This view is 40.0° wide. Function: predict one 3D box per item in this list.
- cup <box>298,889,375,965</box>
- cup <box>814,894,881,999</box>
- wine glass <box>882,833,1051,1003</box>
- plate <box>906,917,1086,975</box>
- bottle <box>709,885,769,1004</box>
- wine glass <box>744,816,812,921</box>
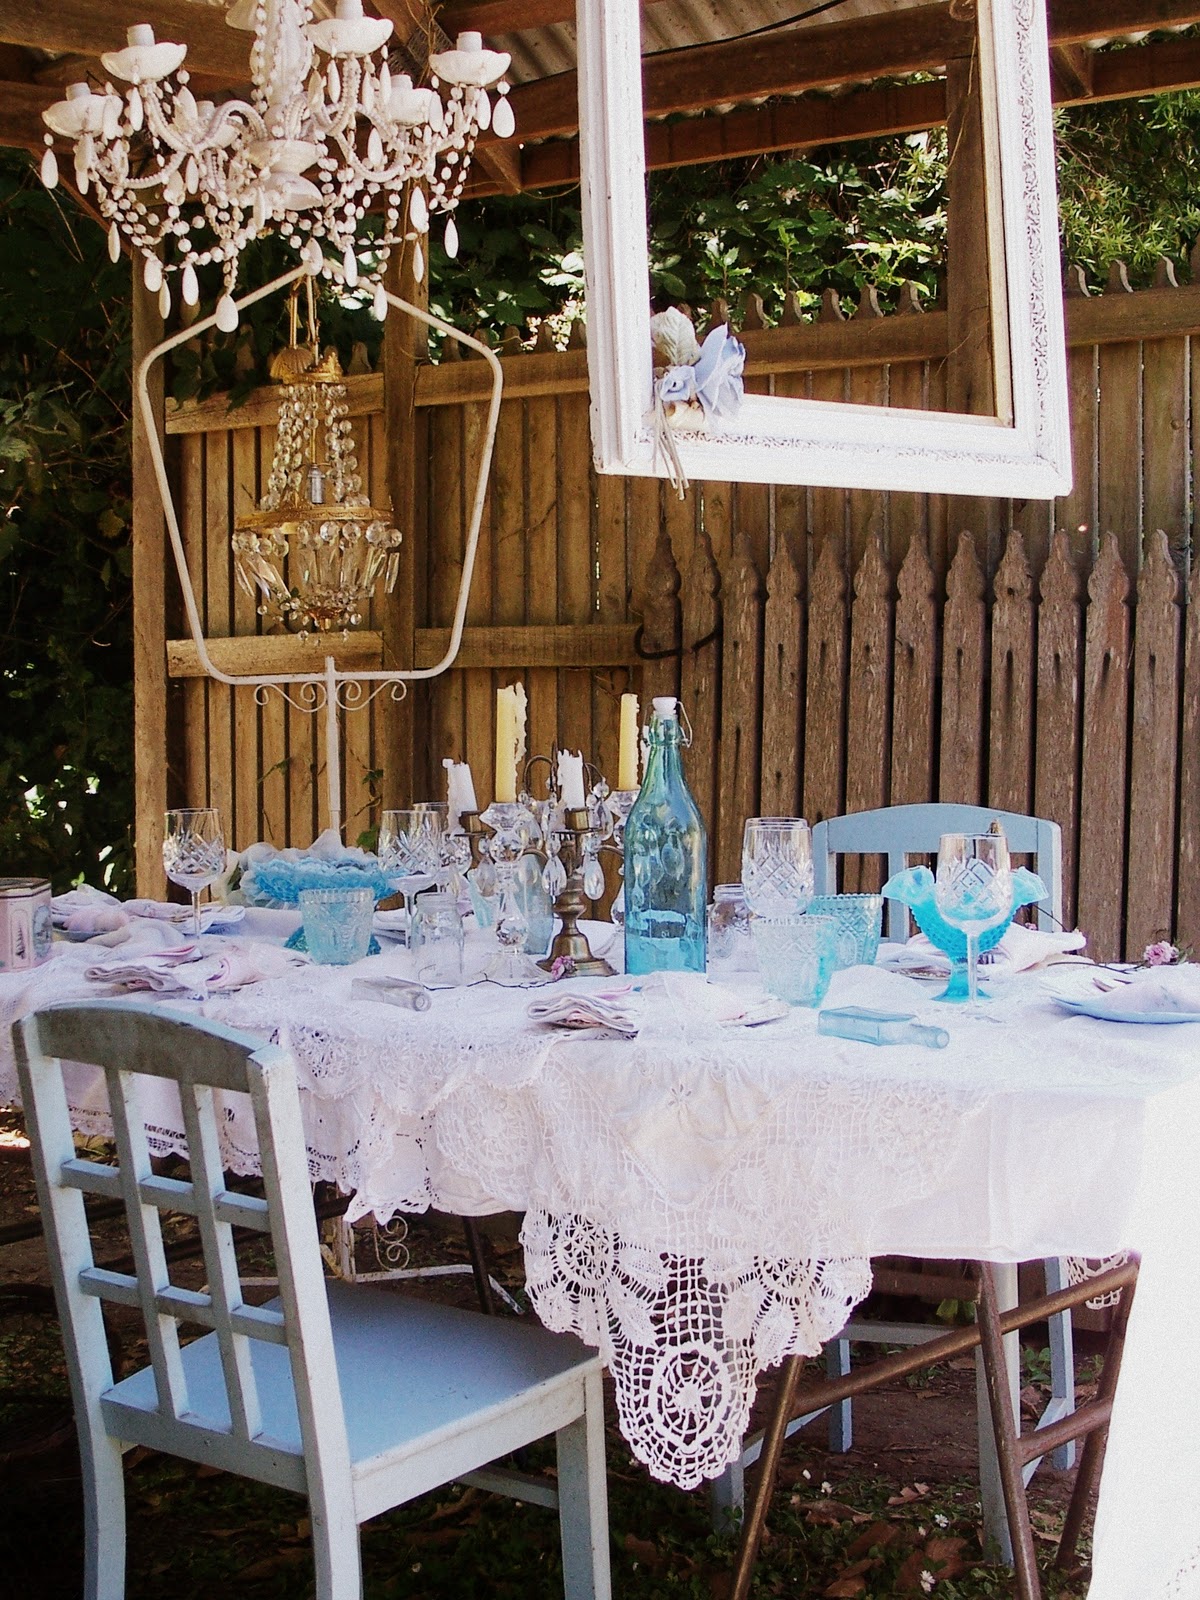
[{"bbox_3d":[-0.312,0.149,1.950,0.089,0.073,0.081,2,-4,-2],"label":"cup"},{"bbox_3d":[0.256,0.155,1.753,0.100,0.105,0.095,-1,-3,0],"label":"cup"},{"bbox_3d":[0.368,0.118,1.705,0.177,0.164,0.174,0,-2,-3],"label":"wine glass"},{"bbox_3d":[0.438,0.165,1.840,0.108,0.033,0.110,0,2,35],"label":"plate"},{"bbox_3d":[0.155,0.163,1.973,0.093,0.134,0.083,0,-4,-2],"label":"bottle"},{"bbox_3d":[0.185,0.073,1.754,0.094,0.131,0.093,0,-3,-1],"label":"wine glass"}]
